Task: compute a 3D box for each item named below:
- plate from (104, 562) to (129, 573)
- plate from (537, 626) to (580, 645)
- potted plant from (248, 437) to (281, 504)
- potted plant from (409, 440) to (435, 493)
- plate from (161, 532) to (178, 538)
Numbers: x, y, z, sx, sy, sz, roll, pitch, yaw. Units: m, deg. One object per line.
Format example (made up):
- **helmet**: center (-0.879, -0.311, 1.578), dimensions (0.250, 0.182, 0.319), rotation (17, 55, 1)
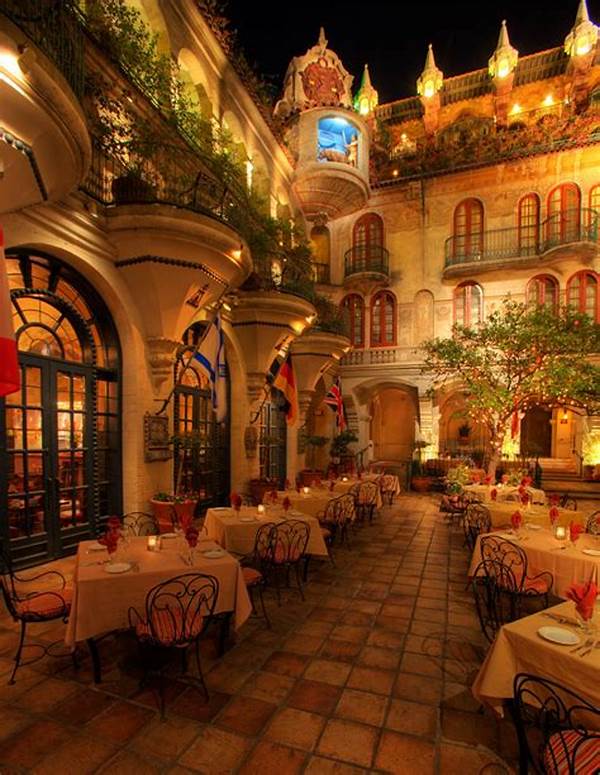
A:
- **plate**: center (-1.452, 1.448, 4.824), dimensions (0.188, 0.027, 0.322), rotation (2, 0, -11)
- **plate**: center (1.649, 1.592, 3.824), dimensions (0.248, 0.028, 0.253), rotation (2, 0, 36)
- **potted plant**: center (-0.690, 1.674, 11.497), dimensions (0.581, 1.262, 0.590), rotation (-6, -1, 28)
- **potted plant**: center (3.429, 2.143, 17.033), dimensions (0.620, 1.295, 2.462), rotation (2, 0, 11)
- **plate**: center (-1.280, 1.451, 5.889), dimensions (0.152, 0.033, 0.200), rotation (2, 0, -9)
